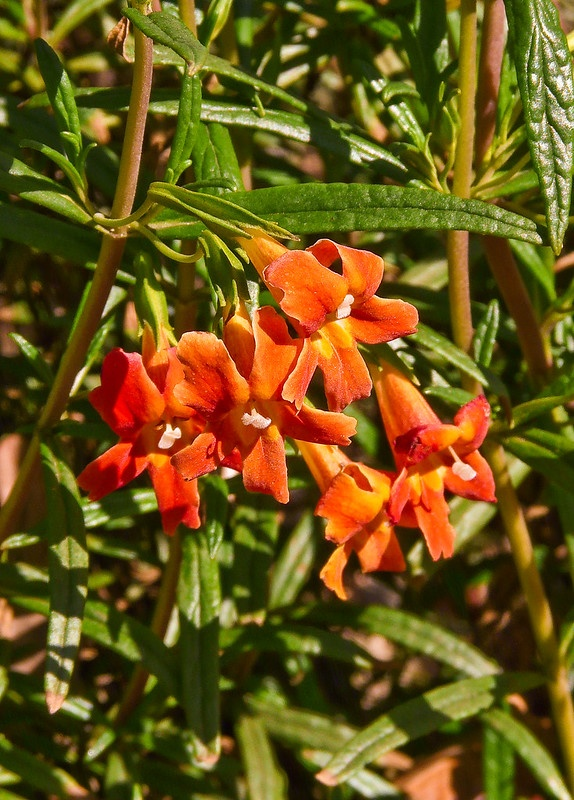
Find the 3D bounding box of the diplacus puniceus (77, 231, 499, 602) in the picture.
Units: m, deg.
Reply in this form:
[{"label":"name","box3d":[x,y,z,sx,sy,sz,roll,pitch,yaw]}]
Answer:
[{"label":"diplacus puniceus","box3d":[0.023,0.012,0.806,0.386,0.275,0.386,-20,70,-29]}]
